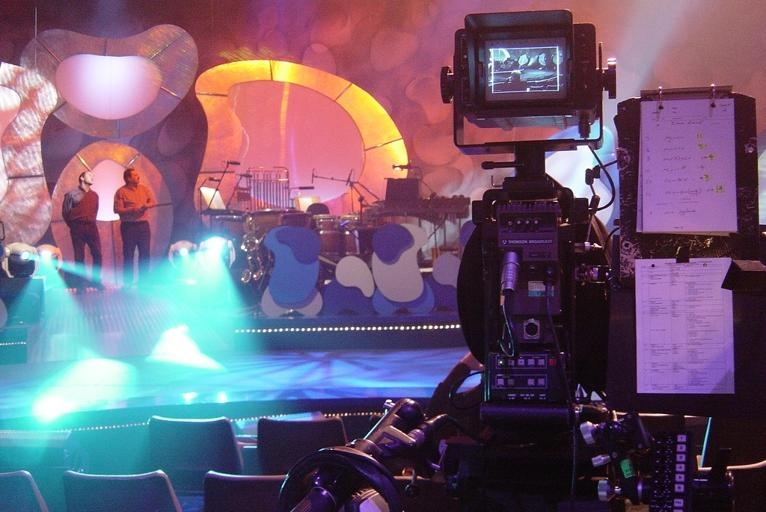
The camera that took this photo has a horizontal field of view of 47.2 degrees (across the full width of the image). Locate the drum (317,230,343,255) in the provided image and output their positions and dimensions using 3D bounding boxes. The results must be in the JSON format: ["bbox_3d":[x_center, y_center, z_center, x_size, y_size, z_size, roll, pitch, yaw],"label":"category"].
[{"bbox_3d":[-0.680,-0.190,11.823,0.339,0.328,0.291,-2,0,2],"label":"drum"}]

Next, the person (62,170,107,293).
[{"bbox_3d":[-4.332,-0.372,12.796,0.607,1.689,0.600,3,-4,-39],"label":"person"}]

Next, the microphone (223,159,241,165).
[{"bbox_3d":[-2.256,-1.425,13.381,0.246,0.097,0.233,1,-3,-17],"label":"microphone"}]

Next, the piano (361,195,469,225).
[{"bbox_3d":[0.500,-0.632,12.229,1.436,0.390,0.302,0,-3,5],"label":"piano"}]

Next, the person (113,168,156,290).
[{"bbox_3d":[-3.661,-0.421,12.952,0.566,1.675,0.335,2,-3,-21],"label":"person"}]

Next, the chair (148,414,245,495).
[{"bbox_3d":[-1.523,1.630,7.483,0.585,0.769,0.657,1,3,9],"label":"chair"}]

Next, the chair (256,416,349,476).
[{"bbox_3d":[-0.622,1.563,7.281,0.497,0.671,0.591,1,6,6],"label":"chair"}]

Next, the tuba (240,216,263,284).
[{"bbox_3d":[-1.682,-0.099,11.343,0.296,0.934,0.909,1,-3,-9],"label":"tuba"}]
